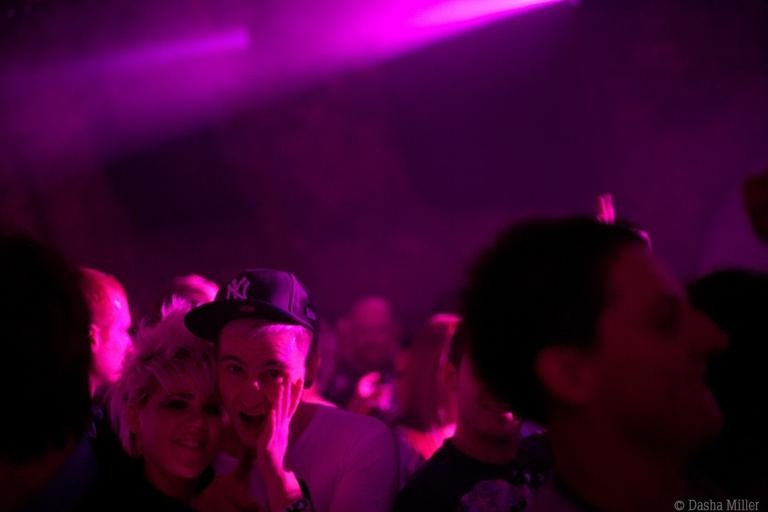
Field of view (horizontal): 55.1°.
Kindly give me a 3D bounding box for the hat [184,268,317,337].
[{"bbox_3d":[-0.597,0.201,3.287,0.422,0.233,0.326,17,-15,5],"label":"hat"}]
